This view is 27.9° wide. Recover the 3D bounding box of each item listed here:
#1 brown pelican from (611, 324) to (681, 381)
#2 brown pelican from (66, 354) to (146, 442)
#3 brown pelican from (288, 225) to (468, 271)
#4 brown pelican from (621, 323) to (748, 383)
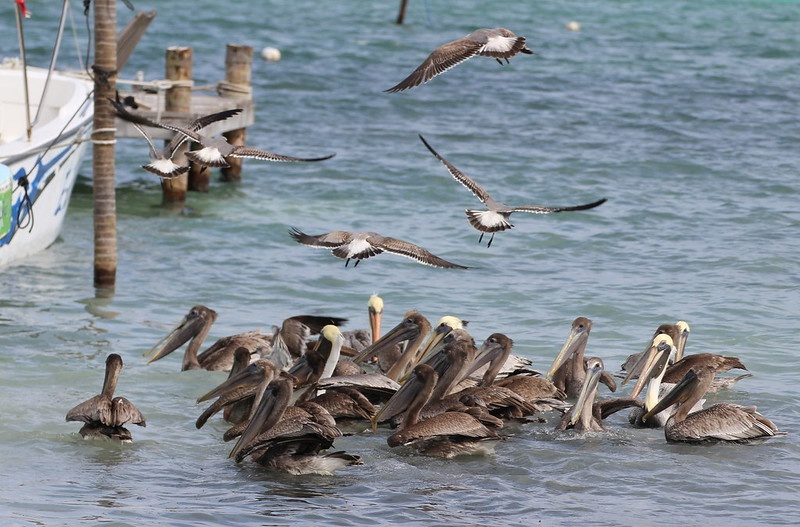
[{"bbox_3d":[5.182,1.805,32.629,1.749,0.531,0.996,-18,4,-9],"label":"brown pelican"},{"bbox_3d":[-5.680,2.667,31.126,1.534,1.384,1.303,16,-34,-18],"label":"brown pelican"},{"bbox_3d":[-0.597,-0.282,31.800,2.951,0.559,0.657,7,13,2],"label":"brown pelican"},{"bbox_3d":[6.113,1.945,32.489,2.915,1.014,0.899,-11,4,44],"label":"brown pelican"}]
